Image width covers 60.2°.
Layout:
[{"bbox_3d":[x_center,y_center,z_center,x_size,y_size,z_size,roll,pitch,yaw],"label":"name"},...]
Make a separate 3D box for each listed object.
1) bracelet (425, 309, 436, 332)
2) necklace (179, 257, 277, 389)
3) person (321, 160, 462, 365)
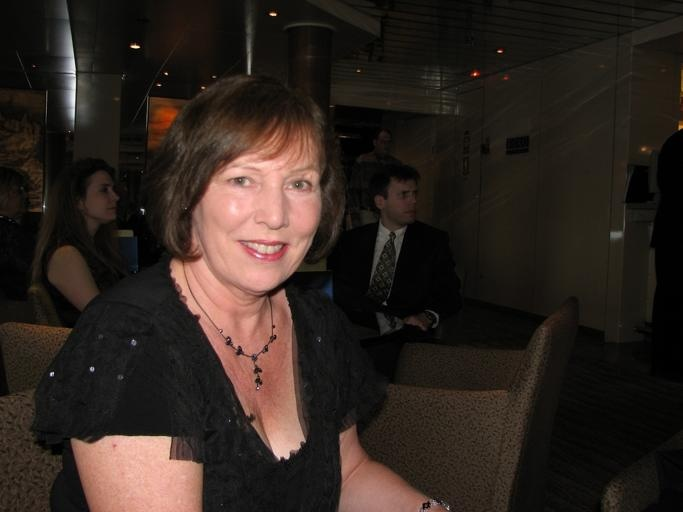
[{"bbox_3d":[0.485,0.357,3.244,0.061,0.074,0.082,7,39,1],"label":"bracelet"},{"bbox_3d":[-0.305,0.200,1.574,0.043,0.293,0.299,-22,-20,27],"label":"necklace"},{"bbox_3d":[0.273,0.305,3.559,0.768,1.674,0.761,3,0,24],"label":"person"}]
